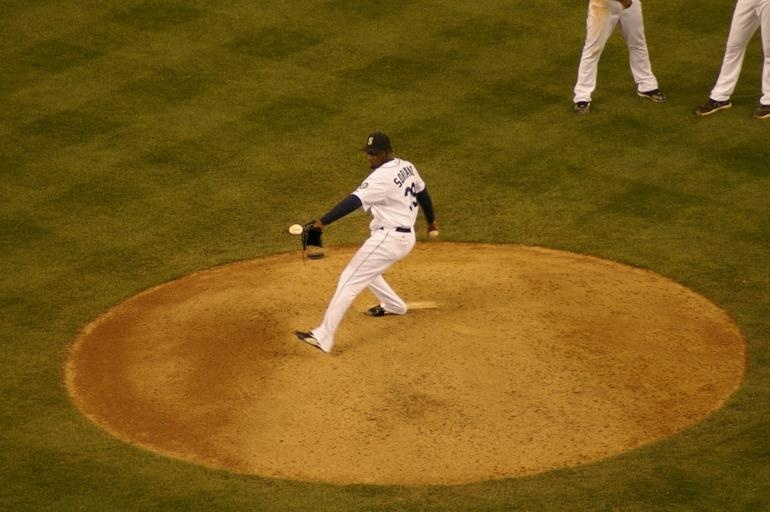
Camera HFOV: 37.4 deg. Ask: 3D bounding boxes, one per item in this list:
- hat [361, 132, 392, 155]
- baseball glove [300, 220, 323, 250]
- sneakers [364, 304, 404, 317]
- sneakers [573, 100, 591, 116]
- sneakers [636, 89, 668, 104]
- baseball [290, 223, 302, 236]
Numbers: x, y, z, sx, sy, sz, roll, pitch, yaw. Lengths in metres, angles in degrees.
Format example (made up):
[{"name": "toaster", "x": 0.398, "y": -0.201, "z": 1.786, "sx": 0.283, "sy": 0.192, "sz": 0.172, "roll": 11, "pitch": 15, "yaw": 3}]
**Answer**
[{"name": "hat", "x": -0.112, "y": -1.512, "z": 15.081, "sx": 0.368, "sy": 0.236, "sz": 0.322, "roll": -10, "pitch": 49, "yaw": -4}, {"name": "baseball glove", "x": -0.937, "y": -0.303, "z": 15.013, "sx": 0.353, "sy": 0.353, "sz": 0.340, "roll": 0, "pitch": 45, "yaw": 0}, {"name": "sneakers", "x": -0.019, "y": 0.770, "z": 15.907, "sx": 0.571, "sy": 0.194, "sz": 0.171, "roll": 5, "pitch": 22, "yaw": 5}, {"name": "sneakers", "x": 3.409, "y": -2.573, "z": 19.656, "sx": 0.244, "sy": 0.154, "sz": 0.382, "roll": 3, "pitch": 18, "yaw": 8}, {"name": "sneakers", "x": 4.658, "y": -2.825, "z": 19.861, "sx": 0.473, "sy": 0.165, "sz": 0.198, "roll": 11, "pitch": 23, "yaw": 33}, {"name": "baseball", "x": -1.150, "y": -0.350, "z": 15.021, "sx": 0.225, "sy": 0.106, "sz": 0.215, "roll": 0, "pitch": 1, "yaw": -4}]
